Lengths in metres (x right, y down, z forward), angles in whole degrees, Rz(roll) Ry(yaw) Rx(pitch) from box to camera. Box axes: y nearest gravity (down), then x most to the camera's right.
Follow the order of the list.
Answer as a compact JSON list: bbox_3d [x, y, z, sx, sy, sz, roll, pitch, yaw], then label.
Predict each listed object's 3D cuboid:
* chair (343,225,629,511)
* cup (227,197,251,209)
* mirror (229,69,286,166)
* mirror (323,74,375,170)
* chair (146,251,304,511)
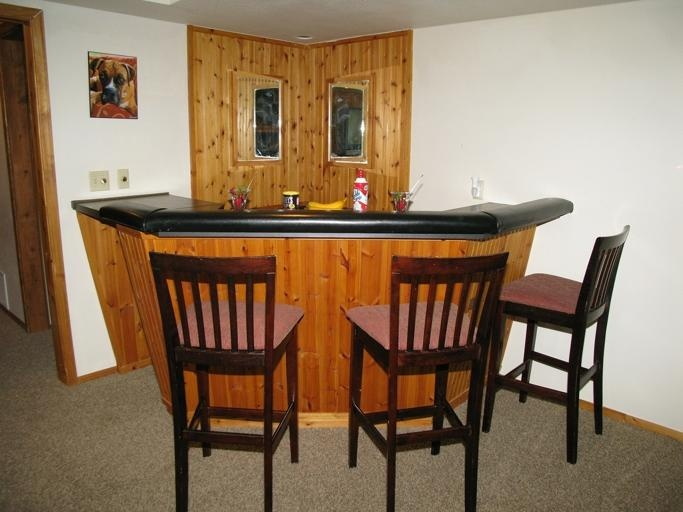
[{"bbox_3d":[0.836,0.693,3.249,1.222,1.070,0.556,-10,20,-29],"label":"chair"},{"bbox_3d":[-0.911,-0.441,4.866,0.179,0.153,0.211,1,8,10],"label":"cup"},{"bbox_3d":[-0.799,-1.315,5.089,0.102,1.058,0.743,12,16,38],"label":"mirror"},{"bbox_3d":[0.060,-1.265,5.204,0.489,0.746,0.054,8,13,35],"label":"mirror"},{"bbox_3d":[-0.581,0.616,3.024,0.762,1.432,0.740,-2,15,-9],"label":"chair"}]
